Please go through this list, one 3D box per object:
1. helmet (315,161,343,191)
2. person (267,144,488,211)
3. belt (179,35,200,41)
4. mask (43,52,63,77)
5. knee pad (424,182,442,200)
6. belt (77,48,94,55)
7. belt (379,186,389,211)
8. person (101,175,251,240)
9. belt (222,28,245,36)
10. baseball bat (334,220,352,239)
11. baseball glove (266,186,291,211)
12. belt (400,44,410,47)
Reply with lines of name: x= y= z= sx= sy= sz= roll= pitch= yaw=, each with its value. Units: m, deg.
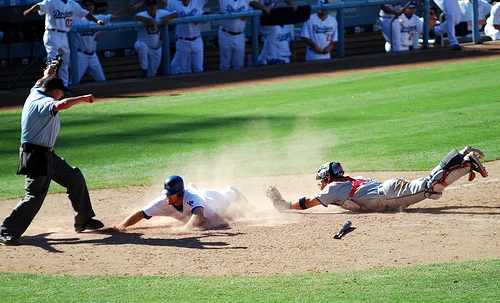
helmet: x=1.472 y=0.467 z=16.051 sx=0.496 sy=0.515 sz=0.263 roll=-2 pitch=7 yaw=6
person: x=2.408 y=0.701 z=16.049 sx=3.285 sy=0.857 sz=1.608 roll=-3 pitch=2 yaw=17
belt: x=-1.719 y=-3.180 z=24.394 sx=0.546 sy=0.136 sz=0.157 roll=-6 pitch=8 yaw=-29
mask: x=-3.513 y=-1.573 z=15.811 sx=0.381 sy=0.439 sz=0.177 roll=16 pitch=-11 yaw=21
knee pad: x=3.332 y=0.723 z=15.764 sx=0.333 sy=0.333 sz=0.144 roll=-5 pitch=7 yaw=-20
belt: x=-4.496 y=-2.730 z=23.725 sx=0.449 sy=0.187 sz=0.142 roll=-9 pitch=9 yaw=-43
belt: x=2.463 y=0.886 z=15.924 sx=0.161 sy=0.440 sz=0.074 roll=-2 pitch=7 yaw=6
person: x=-1.066 y=0.762 z=15.917 sx=1.293 sy=0.578 sz=1.963 roll=7 pitch=22 yaw=37
belt: x=-0.531 y=-3.426 z=24.875 sx=0.546 sy=0.221 sz=0.136 roll=-6 pitch=8 yaw=-29
baseball bat: x=1.649 y=1.385 z=15.361 sx=0.143 sy=0.134 sz=0.589 roll=29 pitch=38 yaw=17
baseball glove: x=0.507 y=0.913 z=16.184 sx=0.310 sy=0.547 sz=0.227 roll=-7 pitch=41 yaw=53
belt: x=4.825 y=-3.276 z=26.885 sx=0.351 sy=0.085 sz=0.092 roll=-9 pitch=9 yaw=-43
